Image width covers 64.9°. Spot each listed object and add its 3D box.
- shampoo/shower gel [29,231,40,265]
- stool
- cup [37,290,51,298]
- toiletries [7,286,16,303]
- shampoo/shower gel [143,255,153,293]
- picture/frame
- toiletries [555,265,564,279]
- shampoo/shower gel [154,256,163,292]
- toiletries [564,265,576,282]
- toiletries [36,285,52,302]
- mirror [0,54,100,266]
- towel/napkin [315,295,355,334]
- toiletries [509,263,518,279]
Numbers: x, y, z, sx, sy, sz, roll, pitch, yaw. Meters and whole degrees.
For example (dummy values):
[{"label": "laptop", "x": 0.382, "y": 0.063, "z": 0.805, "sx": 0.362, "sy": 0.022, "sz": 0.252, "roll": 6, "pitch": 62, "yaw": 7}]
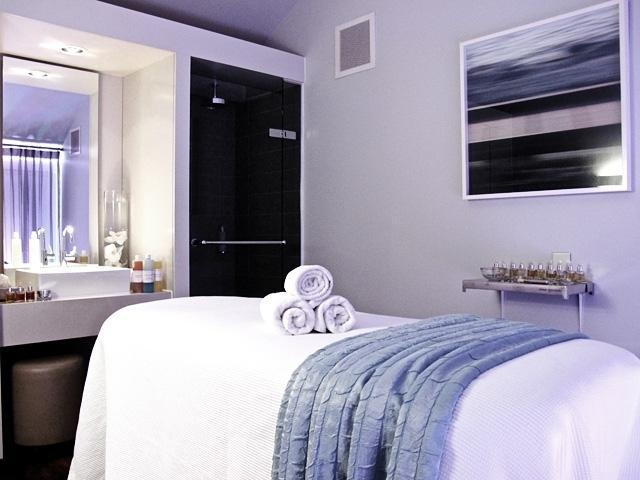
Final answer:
[{"label": "shampoo/shower gel", "x": -1.882, "y": 0.052, "z": 3.307, "sx": 0.032, "sy": 0.225, "sz": 0.077, "roll": 1, "pitch": 11, "yaw": 24}, {"label": "stool", "x": -1.548, "y": 0.932, "z": 3.066, "sx": 0.415, "sy": 0.508, "sz": 0.433, "roll": 0, "pitch": -3, "yaw": -14}, {"label": "cup", "x": -1.598, "y": 0.302, "z": 2.907, "sx": 0.051, "sy": 0.041, "sz": 0.045, "roll": 0, "pitch": 0, "yaw": -41}, {"label": "toiletries", "x": -1.710, "y": 0.300, "z": 2.789, "sx": 0.056, "sy": 0.104, "sz": 0.055, "roll": 5, "pitch": -9, "yaw": -38}, {"label": "shampoo/shower gel", "x": -1.151, "y": 0.234, "z": 3.359, "sx": 0.067, "sy": 0.226, "sz": 0.106, "roll": -5, "pitch": 10, "yaw": -9}, {"label": "picture/frame", "x": 1.375, "y": -0.828, "z": 2.989, "sx": 1.206, "sy": 1.362, "sz": 0.043, "roll": -4, "pitch": -4, "yaw": 43}, {"label": "toiletries", "x": 1.376, "y": 0.172, "z": 2.888, "sx": 0.046, "sy": 0.064, "sz": 0.114, "roll": 1, "pitch": 12, "yaw": 27}, {"label": "shampoo/shower gel", "x": -1.121, "y": 0.247, "z": 3.490, "sx": 0.068, "sy": 0.207, "sz": 0.210, "roll": -6, "pitch": 10, "yaw": -16}, {"label": "toiletries", "x": 1.413, "y": 0.183, "z": 2.847, "sx": 0.052, "sy": 0.077, "sz": 0.135, "roll": 2, "pitch": 12, "yaw": 27}, {"label": "toiletries", "x": -1.607, "y": 0.309, "z": 2.917, "sx": 0.078, "sy": 0.089, "sz": 0.074, "roll": 2, "pitch": -3, "yaw": -37}, {"label": "mirror", "x": -1.828, "y": -0.538, "z": 3.407, "sx": 0.728, "sy": 1.347, "sz": 0.239, "roll": -11, "pitch": 12, "yaw": -35}, {"label": "towel/napkin", "x": 0.048, "y": 0.278, "z": 1.854, "sx": 0.129, "sy": 0.130, "sz": 0.174, "roll": 15, "pitch": -15, "yaw": -7}, {"label": "toiletries", "x": 1.177, "y": 0.174, "z": 3.048, "sx": 0.053, "sy": 0.068, "sz": 0.293, "roll": 0, "pitch": 11, "yaw": 20}]
